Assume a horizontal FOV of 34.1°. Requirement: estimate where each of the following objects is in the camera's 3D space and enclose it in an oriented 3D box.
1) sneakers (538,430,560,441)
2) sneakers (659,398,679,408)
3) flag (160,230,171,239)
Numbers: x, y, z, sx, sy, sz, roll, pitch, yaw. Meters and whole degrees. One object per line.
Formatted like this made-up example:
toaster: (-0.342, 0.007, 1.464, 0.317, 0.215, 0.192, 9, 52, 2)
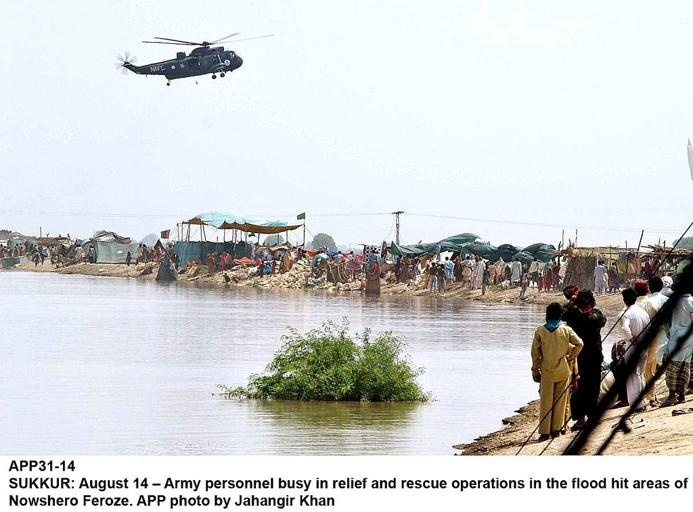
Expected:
sneakers: (2.928, 2.608, 16.324, 0.228, 0.164, 0.078, -19, 13, -12)
sneakers: (4.936, 2.279, 17.385, 0.183, 0.061, 0.133, -7, 1, -23)
flag: (-10.571, -1.256, 65.796, 0.841, 0.601, 0.079, 0, 11, -2)
